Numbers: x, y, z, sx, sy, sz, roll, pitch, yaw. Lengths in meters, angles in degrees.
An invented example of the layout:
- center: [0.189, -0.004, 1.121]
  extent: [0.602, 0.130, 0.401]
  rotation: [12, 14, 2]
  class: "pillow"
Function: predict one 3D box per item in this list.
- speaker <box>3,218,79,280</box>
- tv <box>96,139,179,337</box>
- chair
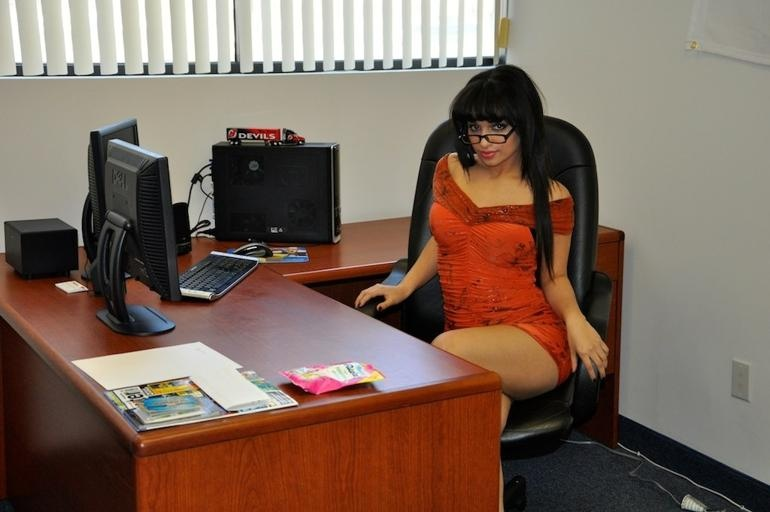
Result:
- center: [-1.285, -0.054, 2.183]
  extent: [0.220, 0.181, 0.232]
  rotation: [-5, 15, -31]
  class: "speaker"
- center: [-0.762, -0.038, 1.772]
  extent: [0.189, 0.572, 0.431]
  rotation: [-11, 26, -43]
  class: "tv"
- center: [0.341, 0.166, 2.060]
  extent: [0.983, 1.334, 0.843]
  rotation: [2, 8, 10]
  class: "chair"
